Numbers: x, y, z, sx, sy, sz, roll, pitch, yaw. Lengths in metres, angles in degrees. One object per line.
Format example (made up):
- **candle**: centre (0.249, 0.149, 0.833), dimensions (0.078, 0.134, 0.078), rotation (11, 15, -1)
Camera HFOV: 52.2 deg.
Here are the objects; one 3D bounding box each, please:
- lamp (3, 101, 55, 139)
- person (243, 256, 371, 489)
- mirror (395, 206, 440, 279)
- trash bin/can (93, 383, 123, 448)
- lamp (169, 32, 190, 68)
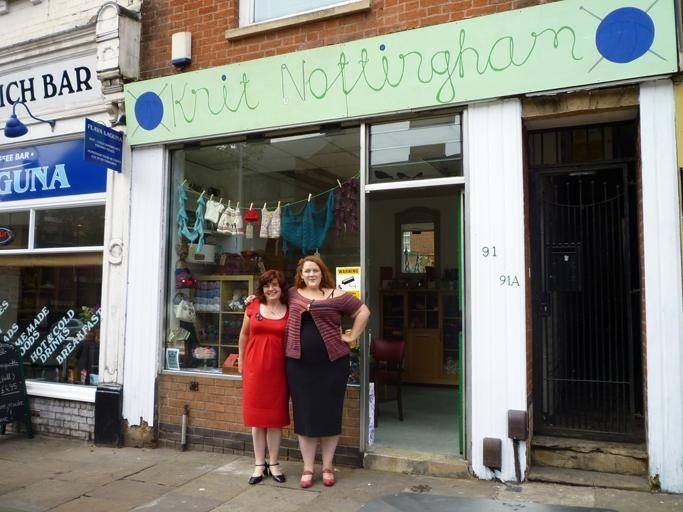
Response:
- **lamp**: centre (-4.453, -1.874, 9.494), dimensions (0.843, 0.523, 0.635), rotation (5, 12, 34)
- **person**: centre (-0.190, 1.227, 7.404), dimensions (0.803, 2.379, 0.545), rotation (-3, 9, -6)
- **mirror**: centre (1.452, -0.286, 13.393), dimensions (0.839, 1.224, 0.532), rotation (-1, 9, 8)
- **trash bin/can**: centre (-2.948, 2.011, 8.825), dimensions (0.414, 0.748, 0.246), rotation (1, 9, 15)
- **lamp**: centre (-2.014, -2.583, 8.756), dimensions (0.259, 0.455, 0.185), rotation (-4, 9, -12)
